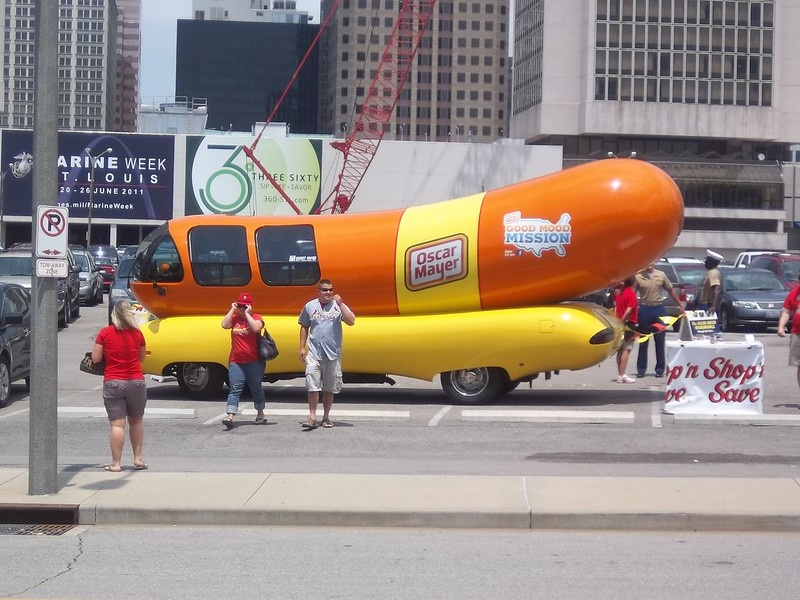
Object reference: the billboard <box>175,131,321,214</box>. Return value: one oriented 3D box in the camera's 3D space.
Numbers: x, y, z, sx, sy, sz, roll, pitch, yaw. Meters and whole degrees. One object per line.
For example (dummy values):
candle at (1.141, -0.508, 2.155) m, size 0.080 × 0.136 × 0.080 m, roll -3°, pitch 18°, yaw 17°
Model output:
billboard at (-8.234, -7.239, 79.234) m, size 9.773 × 5.066 × 0.064 m, roll -6°, pitch 6°, yaw -32°

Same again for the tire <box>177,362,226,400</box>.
tire at (-3.174, 1.308, 21.665) m, size 0.746 × 0.623 × 0.296 m, roll 0°, pitch 4°, yaw 17°

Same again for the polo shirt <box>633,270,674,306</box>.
polo shirt at (4.345, -0.187, 23.422) m, size 1.019 × 0.722 × 0.384 m, roll 0°, pitch 1°, yaw 8°

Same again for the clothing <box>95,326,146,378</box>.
clothing at (-3.504, 0.693, 16.670) m, size 0.423 × 0.665 × 0.784 m, roll -11°, pitch -10°, yaw 41°

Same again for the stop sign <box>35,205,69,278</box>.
stop sign at (-3.945, -0.650, 15.343) m, size 0.385 × 0.827 × 0.172 m, roll 6°, pitch -6°, yaw -17°

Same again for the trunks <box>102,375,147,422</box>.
trunks at (-3.403, 1.256, 16.625) m, size 0.348 × 0.495 × 0.605 m, roll -13°, pitch -7°, yaw 43°

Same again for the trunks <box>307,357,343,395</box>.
trunks at (-1.078, 1.091, 19.207) m, size 0.636 × 0.498 × 0.331 m, roll 3°, pitch -10°, yaw -20°

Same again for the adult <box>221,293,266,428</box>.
adult at (-2.225, 0.910, 19.538) m, size 0.634 × 1.991 × 0.765 m, roll 4°, pitch -5°, yaw 7°

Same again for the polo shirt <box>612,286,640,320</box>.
polo shirt at (3.817, 0.087, 22.826) m, size 0.379 × 0.574 × 0.602 m, roll 7°, pitch -7°, yaw -35°

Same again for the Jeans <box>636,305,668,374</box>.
Jeans at (4.363, 0.744, 23.501) m, size 0.602 × 1.180 × 0.381 m, roll 3°, pitch -2°, yaw 16°

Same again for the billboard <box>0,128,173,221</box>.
billboard at (-15.193, -6.202, 67.442) m, size 9.869 × 4.428 × 0.126 m, roll 1°, pitch 0°, yaw 2°

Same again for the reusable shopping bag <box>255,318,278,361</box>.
reusable shopping bag at (-1.913, 0.660, 19.566) m, size 0.291 × 0.500 × 0.299 m, roll 4°, pitch -5°, yaw -2°

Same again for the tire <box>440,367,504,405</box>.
tire at (1.116, 1.342, 20.900) m, size 0.736 × 0.611 × 0.263 m, roll 1°, pitch 6°, yaw 10°

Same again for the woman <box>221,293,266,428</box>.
woman at (-2.225, 0.910, 19.538) m, size 0.634 × 1.991 × 0.765 m, roll 4°, pitch -5°, yaw 7°

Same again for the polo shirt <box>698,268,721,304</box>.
polo shirt at (6.056, -0.233, 26.448) m, size 0.377 × 0.700 × 0.975 m, roll 4°, pitch 4°, yaw 13°
